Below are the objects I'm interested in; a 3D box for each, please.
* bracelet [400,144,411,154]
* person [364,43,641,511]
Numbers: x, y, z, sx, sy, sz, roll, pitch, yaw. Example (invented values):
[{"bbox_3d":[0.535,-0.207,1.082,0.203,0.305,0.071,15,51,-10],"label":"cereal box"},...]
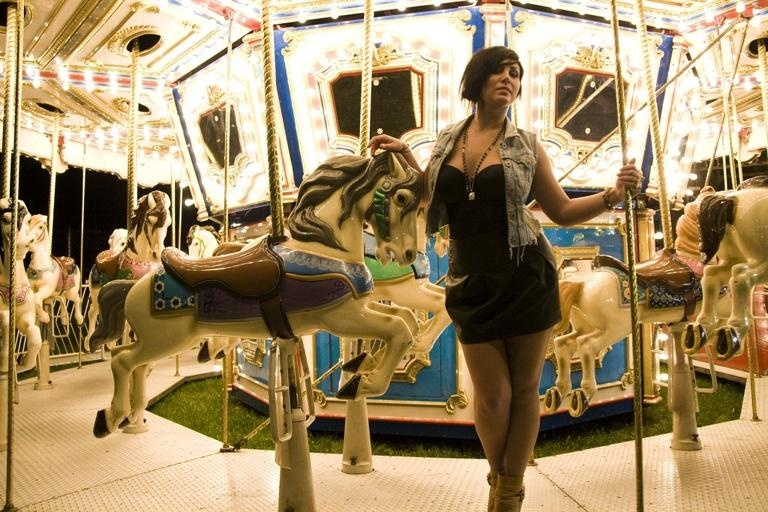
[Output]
[{"bbox_3d":[0.160,-0.772,4.737,0.056,0.056,0.055,-4,-41,2],"label":"bracelet"},{"bbox_3d":[0.762,0.149,4.564,0.896,3.205,0.435,1,4,14],"label":"person"}]
